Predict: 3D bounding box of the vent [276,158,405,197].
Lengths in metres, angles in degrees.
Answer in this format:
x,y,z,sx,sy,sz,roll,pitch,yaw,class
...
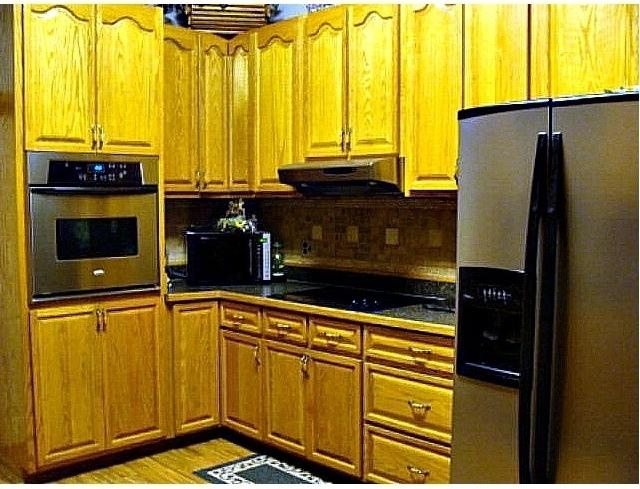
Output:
x,y,z,sx,sy,sz,roll,pitch,yaw,class
0.112,-0.426,3.454,0.874,0.229,0.171,4,6,40,vent

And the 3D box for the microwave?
x,y,z,sx,sy,sz,roll,pitch,yaw,class
-0.659,0.096,3.903,0.600,0.418,0.378,0,-2,-16,microwave

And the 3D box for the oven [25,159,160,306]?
x,y,z,sx,sy,sz,roll,pitch,yaw,class
-1.433,-0.087,3.586,0.735,0.885,0.575,-2,-11,-22,oven

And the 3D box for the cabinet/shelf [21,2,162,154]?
x,y,z,sx,sy,sz,roll,pitch,yaw,class
-1.419,-1.018,3.352,0.955,0.979,0.497,-1,2,-43,cabinet/shelf
